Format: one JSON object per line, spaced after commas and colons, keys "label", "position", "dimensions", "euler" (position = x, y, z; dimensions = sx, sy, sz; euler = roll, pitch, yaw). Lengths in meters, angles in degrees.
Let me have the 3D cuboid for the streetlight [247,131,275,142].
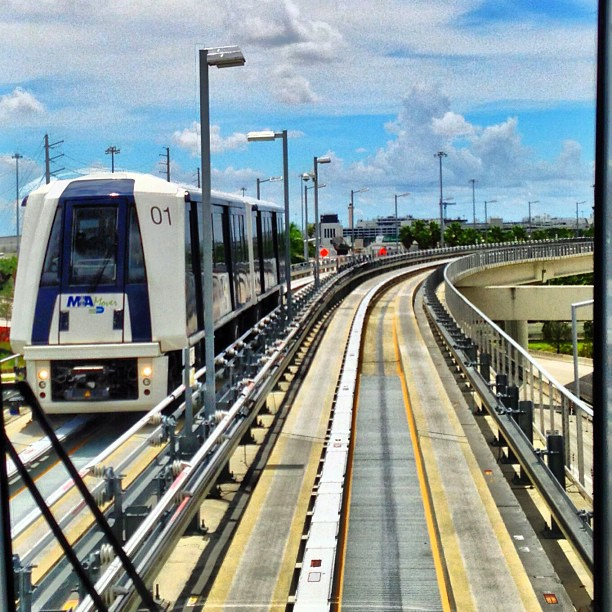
{"label": "streetlight", "position": [-1.410, -5.220, 20.893], "dimensions": [0.845, 0.305, 0.238], "euler": [-4, 5, 20]}
